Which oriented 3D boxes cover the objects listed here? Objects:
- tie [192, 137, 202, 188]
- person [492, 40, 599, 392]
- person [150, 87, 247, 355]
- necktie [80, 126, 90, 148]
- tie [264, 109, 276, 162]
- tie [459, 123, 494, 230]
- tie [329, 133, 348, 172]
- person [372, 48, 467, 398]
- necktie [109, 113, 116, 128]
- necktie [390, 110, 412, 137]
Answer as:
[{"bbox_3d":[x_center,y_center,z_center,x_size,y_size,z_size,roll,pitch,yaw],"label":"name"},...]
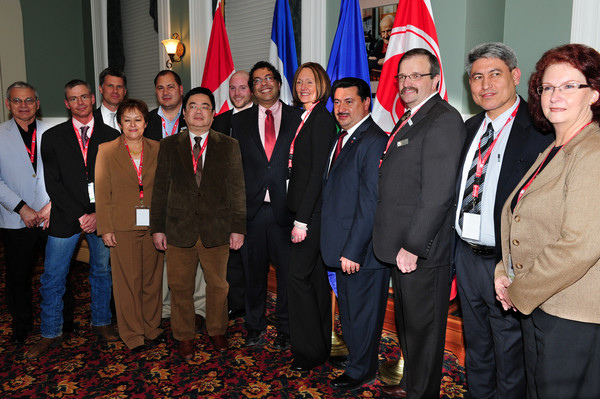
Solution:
[{"bbox_3d":[-0.833,-0.322,3.689,0.080,0.363,0.110,-5,15,-12],"label":"tie"},{"bbox_3d":[1.371,0.138,2.458,0.514,1.883,0.570,4,16,21],"label":"person"},{"bbox_3d":[-0.832,0.189,3.752,0.775,2.155,0.489,-7,16,-20],"label":"person"},{"bbox_3d":[-1.844,-0.532,3.870,0.060,0.193,0.013,1,-11,-8],"label":"necktie"},{"bbox_3d":[-0.252,-0.523,3.807,0.082,0.443,0.021,-1,-10,4],"label":"tie"},{"bbox_3d":[1.168,-0.161,2.973,0.151,0.645,0.276,6,17,29],"label":"tie"},{"bbox_3d":[0.286,-0.382,3.406,0.017,0.371,0.052,26,-11,-34],"label":"tie"},{"bbox_3d":[0.806,0.243,3.131,0.548,2.471,0.616,4,16,23],"label":"person"},{"bbox_3d":[-1.745,-0.741,4.207,0.057,0.124,0.115,-7,16,-20],"label":"necktie"},{"bbox_3d":[0.702,-0.541,3.132,0.060,0.028,0.363,16,40,23],"label":"necktie"}]
